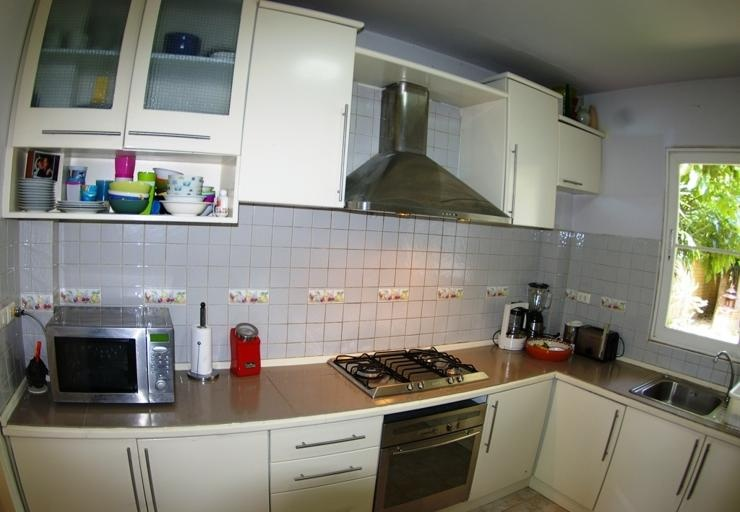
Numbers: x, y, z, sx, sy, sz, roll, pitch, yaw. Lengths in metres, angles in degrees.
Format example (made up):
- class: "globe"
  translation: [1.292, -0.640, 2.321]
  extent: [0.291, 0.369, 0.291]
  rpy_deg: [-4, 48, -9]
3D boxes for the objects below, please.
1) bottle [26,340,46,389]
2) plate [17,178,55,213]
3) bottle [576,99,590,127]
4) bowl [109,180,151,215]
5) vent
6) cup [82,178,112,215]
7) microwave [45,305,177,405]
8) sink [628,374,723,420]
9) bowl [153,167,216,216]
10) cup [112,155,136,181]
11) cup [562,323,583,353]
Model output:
- class: "bottle"
  translation: [-1.852, 0.602, 2.913]
  extent: [0.103, 0.280, 0.113]
  rpy_deg: [2, 5, 0]
- class: "plate"
  translation: [-1.764, -0.318, 2.794]
  extent: [0.180, 0.147, 0.176]
  rpy_deg: [1, 2, -19]
- class: "bottle"
  translation: [1.697, -1.128, 4.168]
  extent: [0.158, 0.209, 0.081]
  rpy_deg: [-4, 5, -16]
- class: "bowl"
  translation: [-1.303, -0.316, 2.901]
  extent: [0.198, 0.149, 0.188]
  rpy_deg: [-1, 0, 0]
- class: "vent"
  translation: [0.246, -0.542, 3.378]
  extent: [1.106, 0.776, 0.925]
  rpy_deg: [4, 2, -27]
- class: "cup"
  translation: [-1.503, -0.330, 2.892]
  extent: [0.122, 0.181, 0.193]
  rpy_deg: [0, -9, -4]
- class: "microwave"
  translation: [-1.440, 0.551, 2.953]
  extent: [0.640, 0.507, 0.384]
  rpy_deg: [0, 6, -18]
- class: "sink"
  translation: [2.167, 0.899, 3.644]
  extent: [0.326, 0.146, 0.371]
  rpy_deg: [-8, 16, -40]
- class: "bowl"
  translation: [-1.038, -0.350, 2.946]
  extent: [0.323, 0.217, 0.251]
  rpy_deg: [5, 3, -8]
- class: "cup"
  translation: [-1.392, -0.495, 2.984]
  extent: [0.129, 0.197, 0.135]
  rpy_deg: [4, 6, 0]
- class: "cup"
  translation: [1.596, 0.643, 4.111]
  extent: [0.160, 0.243, 0.212]
  rpy_deg: [2, 3, -1]
